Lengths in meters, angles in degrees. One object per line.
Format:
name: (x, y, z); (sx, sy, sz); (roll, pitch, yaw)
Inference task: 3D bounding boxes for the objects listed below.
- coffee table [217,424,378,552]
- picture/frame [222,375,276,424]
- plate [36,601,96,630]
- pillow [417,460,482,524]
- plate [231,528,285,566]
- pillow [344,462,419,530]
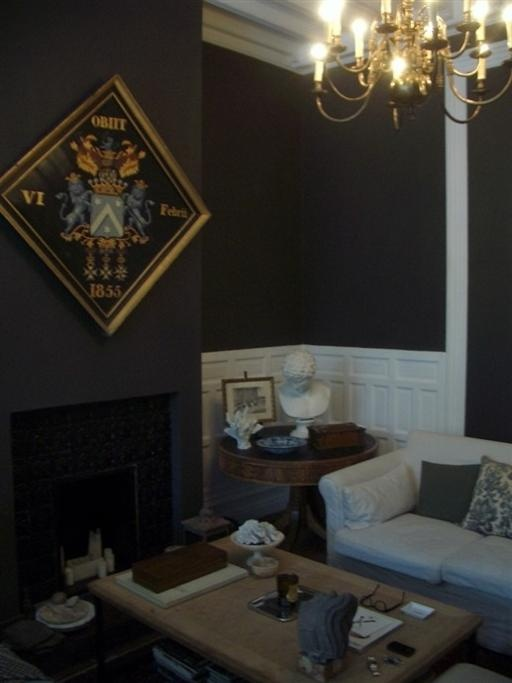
coffee table: (0.254, 0.920, 3.671); (0.805, 0.536, 0.799); (-3, 0, 27)
picture/frame: (-0.051, 0.380, 3.957); (0.353, 0.279, 0.025); (-1, -6, -33)
plate: (-0.821, 1.169, 2.590); (0.189, 0.029, 0.187); (-3, 7, -37)
pillow: (0.997, 0.773, 3.078); (0.111, 0.231, 0.282); (-11, 12, -33)
plate: (0.020, 0.847, 2.453); (0.175, 0.079, 0.169); (1, -3, -22)
pillow: (0.644, 0.819, 3.206); (0.580, 0.241, 0.200); (-2, -6, -42)
